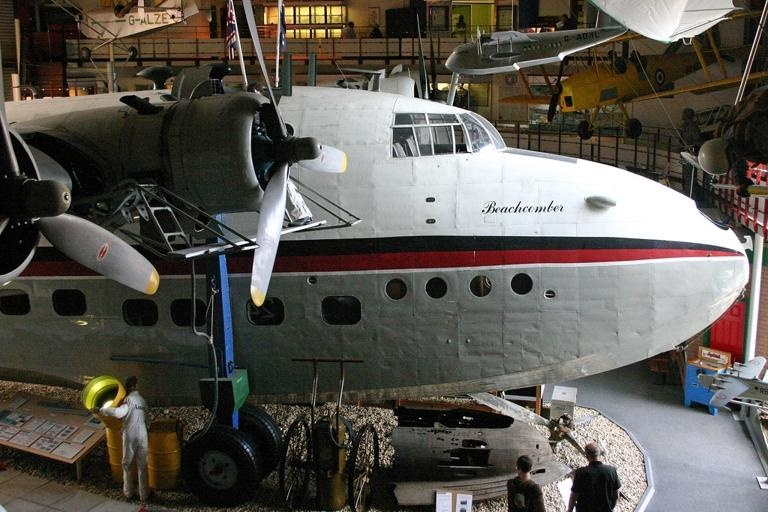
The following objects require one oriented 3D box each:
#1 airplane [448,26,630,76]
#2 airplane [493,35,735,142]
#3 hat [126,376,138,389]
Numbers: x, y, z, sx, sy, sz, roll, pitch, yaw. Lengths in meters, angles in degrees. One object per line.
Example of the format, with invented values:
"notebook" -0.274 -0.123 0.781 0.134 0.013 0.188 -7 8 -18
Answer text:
"airplane" 3.955 -6.005 19.486 4.376 1.142 4.402 10 23 41
"airplane" 8.763 -5.881 22.771 5.872 2.309 7.472 4 12 41
"hat" -5.106 2.554 13.717 0.202 0.238 0.249 -2 12 -11
